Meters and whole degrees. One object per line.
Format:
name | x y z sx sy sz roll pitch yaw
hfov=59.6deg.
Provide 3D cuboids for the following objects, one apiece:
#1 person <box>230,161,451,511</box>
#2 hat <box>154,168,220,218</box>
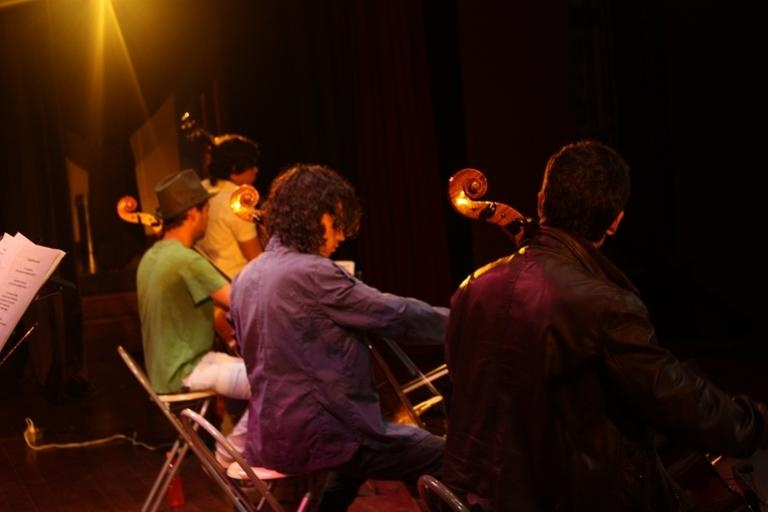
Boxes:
person | -0.201 0.290 2.760 0.882 1.298 0.430 -2 12 4
hat | -1.029 -0.311 3.463 0.267 0.146 0.226 -37 16 -31
